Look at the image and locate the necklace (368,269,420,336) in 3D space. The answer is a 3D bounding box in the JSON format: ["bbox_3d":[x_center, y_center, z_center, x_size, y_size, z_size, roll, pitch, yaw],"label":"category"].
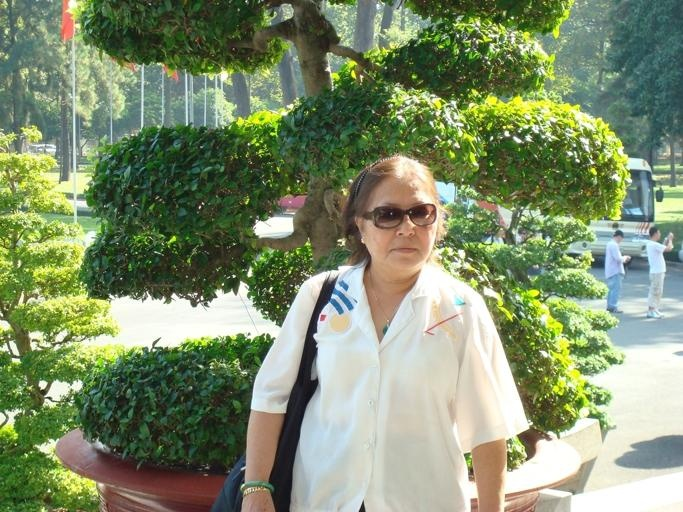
[{"bbox_3d":[0.174,0.178,2.638,0.136,0.317,0.067,8,-25,8],"label":"necklace"}]
